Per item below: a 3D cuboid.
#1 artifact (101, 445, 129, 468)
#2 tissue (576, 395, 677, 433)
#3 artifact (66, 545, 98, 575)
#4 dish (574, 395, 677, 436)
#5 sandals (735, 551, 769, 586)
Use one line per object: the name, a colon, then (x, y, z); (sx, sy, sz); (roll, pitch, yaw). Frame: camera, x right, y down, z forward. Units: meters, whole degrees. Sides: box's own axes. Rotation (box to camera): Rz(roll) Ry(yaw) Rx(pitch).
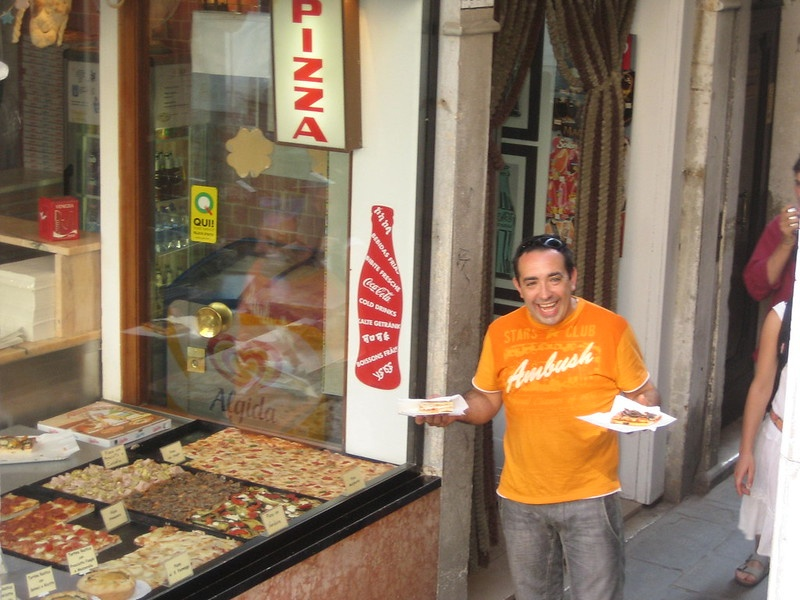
artifact: (-1.106, 0.607, 3.396); (0.028, 0.069, 0.098); (-14, -1, 38)
tissue: (0.873, 0.439, 3.303); (0.225, 0.029, 0.215); (-7, 9, -23)
artifact: (-1.115, 0.908, 3.072); (0.026, 0.072, 0.108); (-9, -1, 44)
dish: (0.935, 0.433, 3.284); (0.204, 0.025, 0.192); (-10, 25, -26)
sandals: (2.062, 1.554, 5.110); (0.127, 0.067, 0.306); (1, 6, 36)
